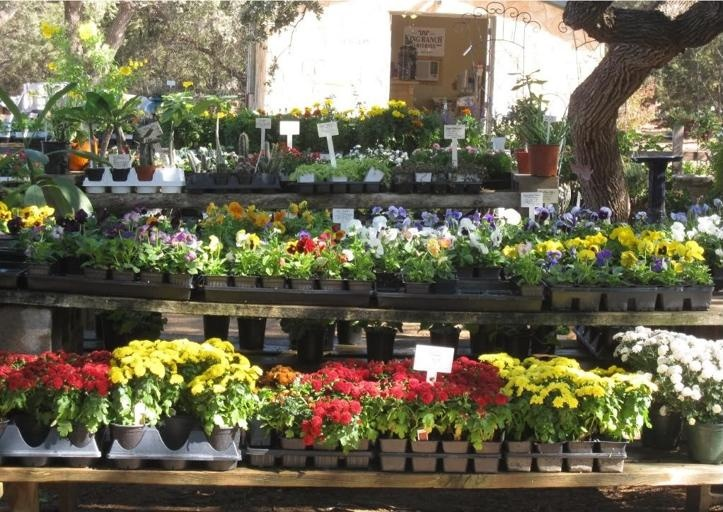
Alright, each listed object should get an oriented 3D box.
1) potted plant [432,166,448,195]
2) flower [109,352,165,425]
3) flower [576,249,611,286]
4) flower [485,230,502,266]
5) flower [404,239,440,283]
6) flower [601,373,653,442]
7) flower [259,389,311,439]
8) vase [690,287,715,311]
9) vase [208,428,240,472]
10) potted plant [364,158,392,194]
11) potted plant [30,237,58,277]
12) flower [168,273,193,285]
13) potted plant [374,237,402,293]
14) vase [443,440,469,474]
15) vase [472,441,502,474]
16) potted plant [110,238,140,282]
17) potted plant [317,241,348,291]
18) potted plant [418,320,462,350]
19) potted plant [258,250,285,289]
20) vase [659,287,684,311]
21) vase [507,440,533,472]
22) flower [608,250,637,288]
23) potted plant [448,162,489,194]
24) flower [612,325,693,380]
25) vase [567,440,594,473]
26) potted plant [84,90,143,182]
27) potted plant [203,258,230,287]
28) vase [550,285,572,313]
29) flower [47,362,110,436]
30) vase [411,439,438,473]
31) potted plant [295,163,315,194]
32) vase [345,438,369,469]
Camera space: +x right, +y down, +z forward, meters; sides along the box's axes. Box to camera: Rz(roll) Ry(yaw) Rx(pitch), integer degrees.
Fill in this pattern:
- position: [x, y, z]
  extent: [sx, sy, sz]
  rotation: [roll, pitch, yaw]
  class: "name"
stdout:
- position: [0.737, -0.686, 11.367]
  extent: [0.206, 0.275, 0.219]
  rotation: [0, 6, 3]
  class: "potted plant"
- position: [-1.719, 1.032, 9.365]
  extent: [0.516, 0.532, 0.383]
  rotation: [-1, 11, -30]
  class: "flower"
- position: [1.870, 0.090, 9.893]
  extent: [0.303, 0.141, 0.295]
  rotation: [-17, 28, -25]
  class: "flower"
- position: [1.103, -0.069, 10.220]
  extent: [0.157, 0.307, 0.350]
  rotation: [1, 2, 6]
  class: "flower"
- position: [0.485, 0.042, 9.899]
  extent: [0.299, 0.357, 0.165]
  rotation: [1, 2, 3]
  class: "flower"
- position: [2.071, 1.173, 9.475]
  extent: [0.468, 0.511, 0.195]
  rotation: [0, 2, -5]
  class: "flower"
- position: [-0.565, 1.190, 9.493]
  extent: [0.386, 0.280, 0.382]
  rotation: [14, 19, 14]
  class: "flower"
- position: [2.742, 0.339, 9.831]
  extent: [0.194, 0.201, 0.083]
  rotation: [0, 2, -22]
  class: "vase"
- position: [-1.049, 1.472, 9.442]
  extent: [0.297, 0.290, 0.293]
  rotation: [3, 8, 3]
  class: "vase"
- position: [0.158, -0.752, 11.494]
  extent: [0.342, 0.348, 0.288]
  rotation: [4, 17, 9]
  class: "potted plant"
- position: [-2.608, 0.013, 9.969]
  extent: [0.273, 0.262, 0.260]
  rotation: [2, 9, -3]
  class: "potted plant"
- position: [-1.457, 0.186, 9.852]
  extent: [0.139, 0.069, 0.099]
  rotation: [0, 2, 1]
  class: "flower"
- position: [0.226, 0.074, 9.981]
  extent: [0.222, 0.419, 0.201]
  rotation: [1, 2, 1]
  class: "potted plant"
- position: [0.726, 1.548, 9.524]
  extent: [0.267, 0.209, 0.220]
  rotation: [0, 0, 3]
  class: "vase"
- position: [0.968, 1.553, 9.421]
  extent: [0.243, 0.221, 0.201]
  rotation: [1, 1, 2]
  class: "vase"
- position: [-1.871, 0.013, 9.982]
  extent: [0.276, 0.344, 0.319]
  rotation: [4, 32, -4]
  class: "potted plant"
- position: [-0.253, 0.091, 9.900]
  extent: [0.329, 0.310, 0.306]
  rotation: [-1, 13, -9]
  class: "potted plant"
- position: [0.695, 0.647, 10.467]
  extent: [0.287, 0.201, 0.291]
  rotation: [1, 1, 4]
  class: "potted plant"
- position: [-0.721, 0.125, 9.879]
  extent: [0.266, 0.258, 0.215]
  rotation: [-1, 7, -11]
  class: "potted plant"
- position: [2.487, 0.336, 9.833]
  extent: [0.216, 0.176, 0.180]
  rotation: [2, 11, 8]
  class: "vase"
- position: [1.215, 1.548, 9.439]
  extent: [0.259, 0.197, 0.211]
  rotation: [1, 9, 7]
  class: "vase"
- position: [2.126, 0.102, 9.894]
  extent: [0.246, 0.282, 0.179]
  rotation: [1, 2, 2]
  class: "flower"
- position: [0.977, -0.738, 11.459]
  extent: [0.293, 0.198, 0.284]
  rotation: [-3, 15, -6]
  class: "potted plant"
- position: [2.276, 0.720, 9.811]
  extent: [0.447, 0.268, 0.432]
  rotation: [0, 12, -3]
  class: "flower"
- position: [1.692, 1.552, 9.545]
  extent: [0.272, 0.210, 0.220]
  rotation: [1, 6, 3]
  class: "vase"
- position: [-2.379, -1.235, 11.680]
  extent: [0.528, 0.713, 1.025]
  rotation: [0, 2, -11]
  class: "potted plant"
- position: [-1.176, 0.128, 9.921]
  extent: [0.200, 0.240, 0.184]
  rotation: [0, 2, -6]
  class: "potted plant"
- position: [1.621, 0.342, 9.871]
  extent: [0.192, 0.116, 0.187]
  rotation: [0, 13, -2]
  class: "vase"
- position: [-2.145, 1.103, 9.340]
  extent: [0.447, 0.554, 0.189]
  rotation: [0, 2, -17]
  class: "flower"
- position: [0.483, 1.532, 9.413]
  extent: [0.274, 0.205, 0.226]
  rotation: [0, 4, 1]
  class: "vase"
- position: [-0.530, -0.720, 11.350]
  extent: [0.237, 0.263, 0.257]
  rotation: [1, 3, -6]
  class: "potted plant"
- position: [-0.020, 1.544, 9.423]
  extent: [0.295, 0.199, 0.196]
  rotation: [0, 15, -3]
  class: "vase"
